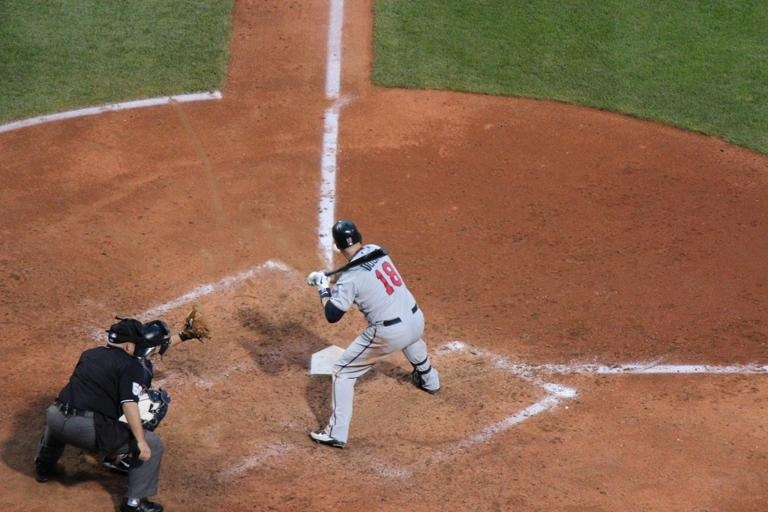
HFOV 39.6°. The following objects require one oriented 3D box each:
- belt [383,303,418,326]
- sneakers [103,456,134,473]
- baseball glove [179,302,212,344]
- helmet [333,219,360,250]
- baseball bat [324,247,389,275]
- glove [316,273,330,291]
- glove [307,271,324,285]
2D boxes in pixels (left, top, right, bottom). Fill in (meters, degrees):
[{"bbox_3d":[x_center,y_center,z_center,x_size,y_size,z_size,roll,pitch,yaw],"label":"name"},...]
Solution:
[{"bbox_3d":[0.250,0.956,16.963,0.448,0.329,0.102,-24,92,22],"label":"belt"},{"bbox_3d":[-4.052,3.158,16.256,0.470,0.178,0.196,17,25,2],"label":"sneakers"},{"bbox_3d":[-3.127,1.027,17.003,0.511,0.274,0.672,-16,41,-32],"label":"baseball glove"},{"bbox_3d":[-0.612,-0.359,17.184,0.385,0.467,0.492,-18,68,-4],"label":"helmet"},{"bbox_3d":[-0.419,0.081,17.526,1.180,0.154,0.153,-20,96,14],"label":"baseball bat"},{"bbox_3d":[-1.014,0.391,17.309,0.275,0.265,0.117,38,110,-4],"label":"glove"},{"bbox_3d":[-1.127,0.374,17.463,0.271,0.198,0.245,11,105,1],"label":"glove"}]
